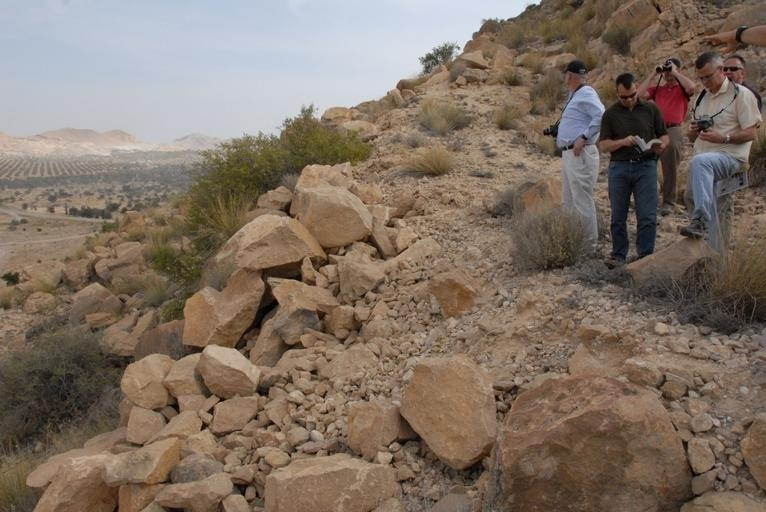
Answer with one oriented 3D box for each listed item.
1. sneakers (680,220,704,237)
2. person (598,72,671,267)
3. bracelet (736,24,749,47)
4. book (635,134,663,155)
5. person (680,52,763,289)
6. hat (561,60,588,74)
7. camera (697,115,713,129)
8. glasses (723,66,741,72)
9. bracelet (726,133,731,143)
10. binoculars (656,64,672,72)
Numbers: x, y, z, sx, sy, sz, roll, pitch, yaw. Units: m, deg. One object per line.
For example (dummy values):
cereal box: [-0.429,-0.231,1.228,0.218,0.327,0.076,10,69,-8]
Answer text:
sneakers: [4.367,-0.375,7.977,0.373,0.256,0.237,2,13,14]
person: [3.788,-1.348,8.647,0.937,2.782,0.814,5,13,27]
bracelet: [5.239,-3.230,8.296,0.133,0.214,0.354,6,15,30]
book: [3.935,-1.648,8.406,0.405,0.248,0.189,3,13,19]
person: [4.868,-1.508,8.235,0.893,2.834,1.273,9,16,39]
hat: [3.231,-3.138,9.567,0.291,0.267,0.434,-1,30,-1]
camera: [4.815,-1.981,8.451,0.178,0.239,0.171,-5,13,7]
glasses: [5.115,-2.722,8.285,0.221,0.080,0.059,-1,12,0]
bracelet: [5.020,-1.699,8.243,0.062,0.108,0.108,0,-11,11]
binoculars: [4.581,-3.045,9.228,0.183,0.079,0.204,-2,34,14]
